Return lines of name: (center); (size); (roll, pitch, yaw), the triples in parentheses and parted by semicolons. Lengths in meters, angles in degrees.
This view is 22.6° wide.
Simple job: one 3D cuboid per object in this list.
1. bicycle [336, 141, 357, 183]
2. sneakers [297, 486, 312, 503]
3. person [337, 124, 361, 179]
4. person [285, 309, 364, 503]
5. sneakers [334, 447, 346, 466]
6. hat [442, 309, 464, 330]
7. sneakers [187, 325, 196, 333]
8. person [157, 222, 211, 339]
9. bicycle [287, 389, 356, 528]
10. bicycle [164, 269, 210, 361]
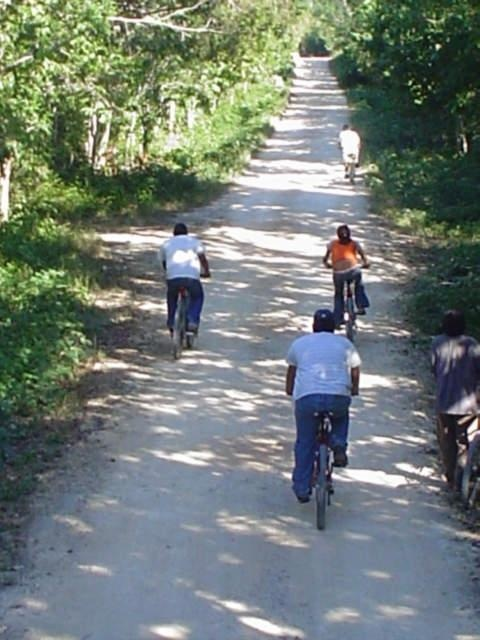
bicycle: (2.831, -4.044, 31.194); (0.478, 0.721, 1.181); (-2, 22, 4)
sneakers: (0.597, 1.607, 11.091); (0.099, 0.144, 0.142); (7, 15, 3)
person: (2.812, -4.462, 30.857); (0.710, 1.063, 1.795); (-3, 25, 3)
person: (0.739, 0.836, 10.931); (0.644, 1.804, 0.499); (2, 8, 2)
sneakers: (0.909, 1.222, 10.852); (0.124, 0.147, 0.255); (3, 9, 3)
hat: (1.964, 0.010, 11.128); (0.138, 0.208, 0.196); (-1, 1, 4)
sneakers: (-0.595, 0.112, 15.328); (0.092, 0.095, 0.166); (4, -2, -7)
person: (-0.687, -0.491, 15.115); (0.626, 1.402, 0.723); (2, 8, -1)
bicycle: (0.706, 1.125, 10.850); (0.519, 0.724, 1.117); (2, 10, 1)
bicycle: (-0.677, 0.020, 15.200); (0.390, 0.545, 0.904); (1, 30, -1)
